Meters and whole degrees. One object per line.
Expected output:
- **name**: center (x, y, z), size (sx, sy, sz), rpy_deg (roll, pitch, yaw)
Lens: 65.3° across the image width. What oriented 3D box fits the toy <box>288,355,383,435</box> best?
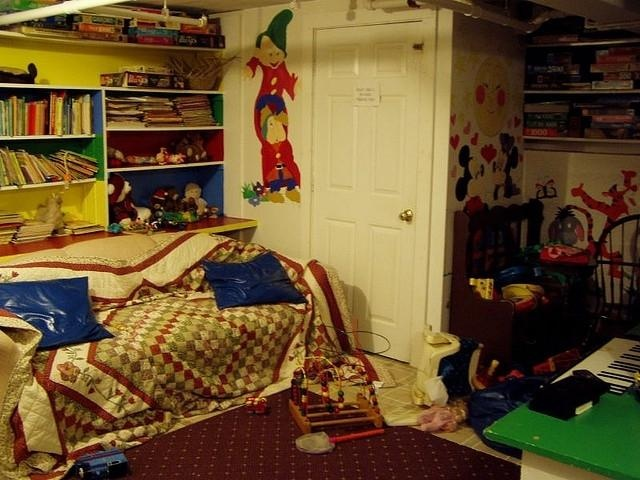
- **toy**: center (0.110, 0.917, 3.258), size (0.675, 0.432, 0.456), rpy_deg (-1, 16, -14)
